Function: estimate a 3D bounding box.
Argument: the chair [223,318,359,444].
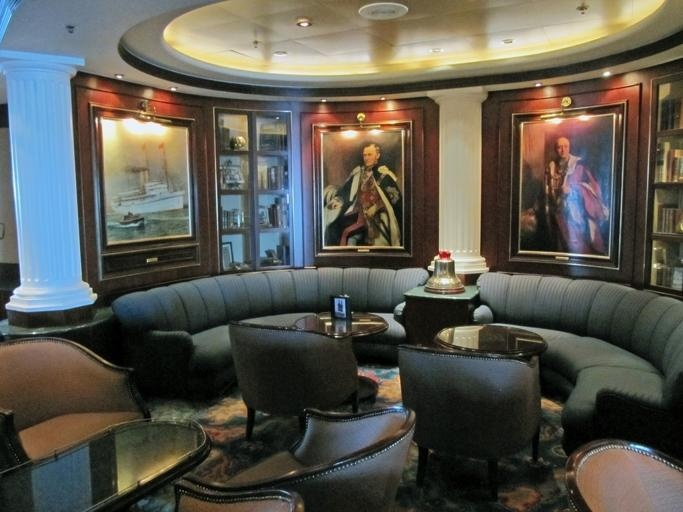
[{"bbox_3d":[-0.392,0.964,4.683,1.125,0.904,0.946,3,8,25],"label":"chair"}]

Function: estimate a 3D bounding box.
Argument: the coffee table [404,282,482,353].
[{"bbox_3d":[1.087,0.708,6.150,0.815,0.578,0.730,3,7,25],"label":"coffee table"}]

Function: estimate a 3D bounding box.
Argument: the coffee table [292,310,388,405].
[{"bbox_3d":[-0.010,0.975,5.438,1.130,0.573,0.939,-1,1,-2],"label":"coffee table"}]

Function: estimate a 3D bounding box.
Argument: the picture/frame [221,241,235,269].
[{"bbox_3d":[-1.518,0.003,7.196,0.071,0.380,0.207,4,12,40],"label":"picture/frame"}]
